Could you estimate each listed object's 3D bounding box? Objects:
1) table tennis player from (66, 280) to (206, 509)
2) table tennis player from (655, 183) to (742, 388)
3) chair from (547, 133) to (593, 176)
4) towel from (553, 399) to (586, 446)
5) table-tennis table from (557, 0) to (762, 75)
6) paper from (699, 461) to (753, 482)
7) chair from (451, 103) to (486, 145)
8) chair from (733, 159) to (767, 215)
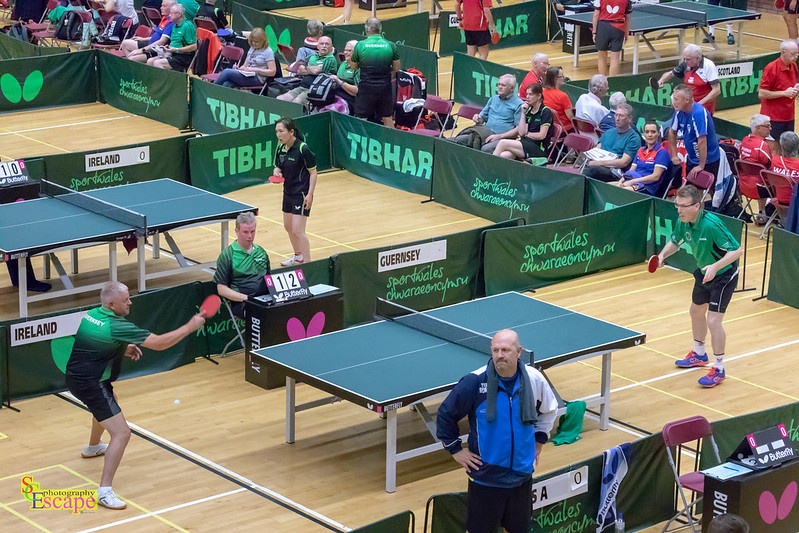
[{"bbox_3d":[-3.015,1.545,10.839,1.307,2.030,1.157,-13,39,-33],"label":"table tennis player"},{"bbox_3d":[3.856,0.263,11.906,0.945,2.634,0.846,-3,16,-7],"label":"table tennis player"},{"bbox_3d":[3.137,-2.056,17.201,0.547,1.032,0.775,17,29,38],"label":"chair"},{"bbox_3d":[2.063,1.861,11.300,0.328,0.556,0.166,19,-9,0],"label":"towel"},{"bbox_3d":[6.235,-5.535,22.993,2.702,1.005,1.888,-21,35,-31],"label":"table-tennis table"},{"bbox_3d":[3.206,1.978,9.172,0.461,0.058,0.247,-8,19,-21],"label":"paper"},{"bbox_3d":[1.383,-2.645,18.076,0.645,1.168,0.875,4,20,4],"label":"chair"},{"bbox_3d":[5.893,-1.369,15.819,0.444,0.777,0.597,20,51,31],"label":"chair"}]
